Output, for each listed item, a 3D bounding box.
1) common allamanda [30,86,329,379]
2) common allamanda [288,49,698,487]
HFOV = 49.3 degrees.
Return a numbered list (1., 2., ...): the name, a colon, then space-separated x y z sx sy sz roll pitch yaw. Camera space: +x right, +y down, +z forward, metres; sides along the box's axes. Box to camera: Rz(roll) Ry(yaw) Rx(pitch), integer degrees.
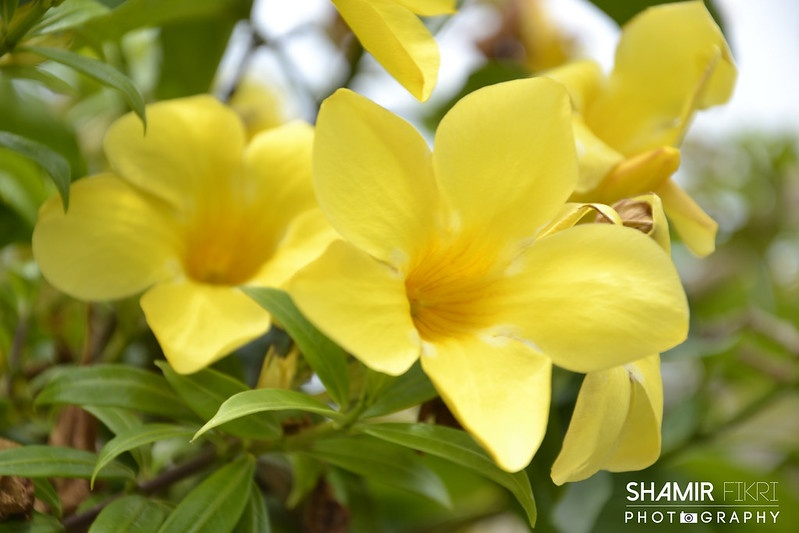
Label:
1. common allamanda: -0.214 -0.039 0.845 0.265 0.122 0.272 26 64 -21
2. common allamanda: 0.059 -0.015 0.739 0.289 0.155 0.312 -29 58 -22
